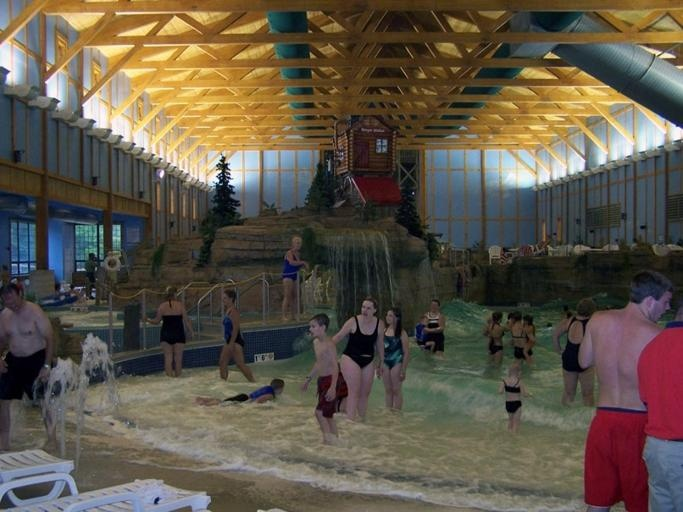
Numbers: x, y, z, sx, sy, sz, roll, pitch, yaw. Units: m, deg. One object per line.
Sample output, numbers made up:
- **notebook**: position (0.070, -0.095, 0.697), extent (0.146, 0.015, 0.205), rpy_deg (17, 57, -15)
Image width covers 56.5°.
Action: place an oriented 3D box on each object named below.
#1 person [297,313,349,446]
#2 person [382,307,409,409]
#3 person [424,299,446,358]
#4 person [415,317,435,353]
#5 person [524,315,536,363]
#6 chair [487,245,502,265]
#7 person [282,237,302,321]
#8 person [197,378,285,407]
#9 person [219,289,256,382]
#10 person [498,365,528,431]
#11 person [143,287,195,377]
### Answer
- **person**: position (-0.217, 1.731, 9.288), extent (0.599, 1.842, 1.234), rpy_deg (1, -1, 1)
- **person**: position (0.867, 1.700, 10.357), extent (0.393, 1.734, 0.800), rpy_deg (1, -1, 3)
- **person**: position (2.256, 1.922, 15.751), extent (0.609, 1.721, 0.591), rpy_deg (4, 13, 27)
- **person**: position (2.170, 1.853, 16.100), extent (0.525, 0.806, 0.558), rpy_deg (-9, 13, -15)
- **person**: position (4.241, 1.870, 14.378), extent (0.211, 1.132, 0.932), rpy_deg (0, -2, 16)
- **chair**: position (8.074, -0.093, 33.388), extent (0.922, 1.415, 1.037), rpy_deg (0, 0, 5)
- **person**: position (-1.119, 0.537, 14.408), extent (0.375, 1.857, 1.385), rpy_deg (1, -1, -5)
- **person**: position (-1.751, 2.410, 11.041), extent (1.445, 0.617, 0.490), rpy_deg (-1, 4, -28)
- **person**: position (-1.959, 1.524, 12.001), extent (0.635, 1.798, 1.123), rpy_deg (1, -1, -10)
- **person**: position (2.727, 2.231, 10.152), extent (0.351, 1.120, 0.867), rpy_deg (0, -2, 16)
- **person**: position (-3.178, 1.427, 11.963), extent (0.695, 1.733, 0.862), rpy_deg (1, -1, -12)
